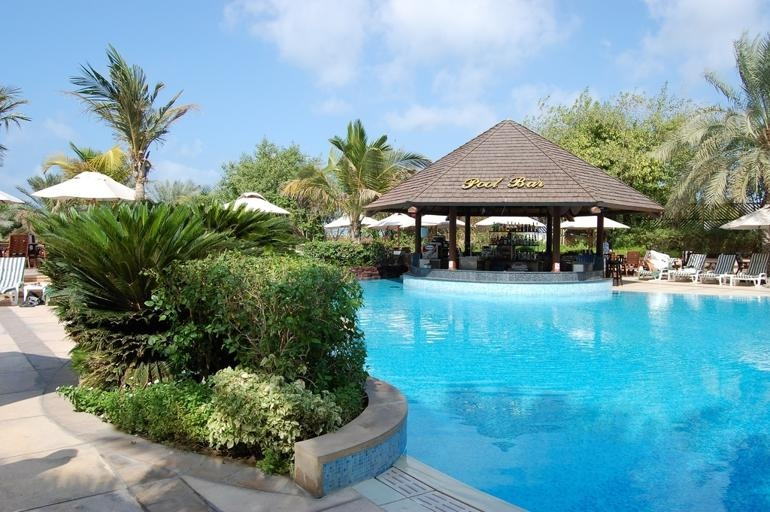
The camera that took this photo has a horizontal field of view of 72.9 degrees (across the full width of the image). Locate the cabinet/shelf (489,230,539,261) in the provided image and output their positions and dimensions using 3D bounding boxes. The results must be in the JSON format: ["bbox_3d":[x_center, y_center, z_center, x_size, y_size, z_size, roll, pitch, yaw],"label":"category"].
[{"bbox_3d":[6.641,-0.549,26.867,1.941,1.200,1.037,0,3,13],"label":"cabinet/shelf"}]

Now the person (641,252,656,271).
[{"bbox_3d":[14.644,0.268,28.983,0.603,0.891,1.449,0,3,22],"label":"person"}]
